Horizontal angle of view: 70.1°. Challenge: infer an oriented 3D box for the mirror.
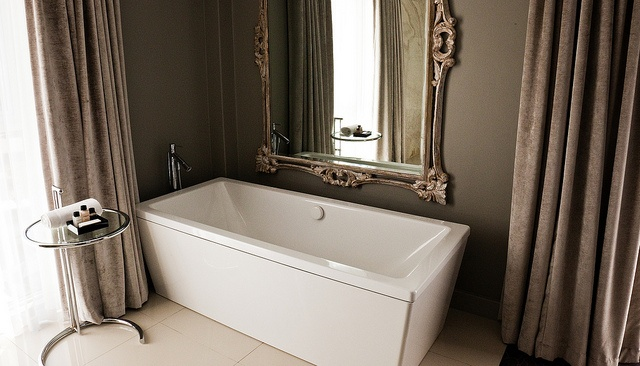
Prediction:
[{"bbox_3d":[0.372,-0.754,4.040,1.958,1.823,0.102,5,13,33],"label":"mirror"}]
